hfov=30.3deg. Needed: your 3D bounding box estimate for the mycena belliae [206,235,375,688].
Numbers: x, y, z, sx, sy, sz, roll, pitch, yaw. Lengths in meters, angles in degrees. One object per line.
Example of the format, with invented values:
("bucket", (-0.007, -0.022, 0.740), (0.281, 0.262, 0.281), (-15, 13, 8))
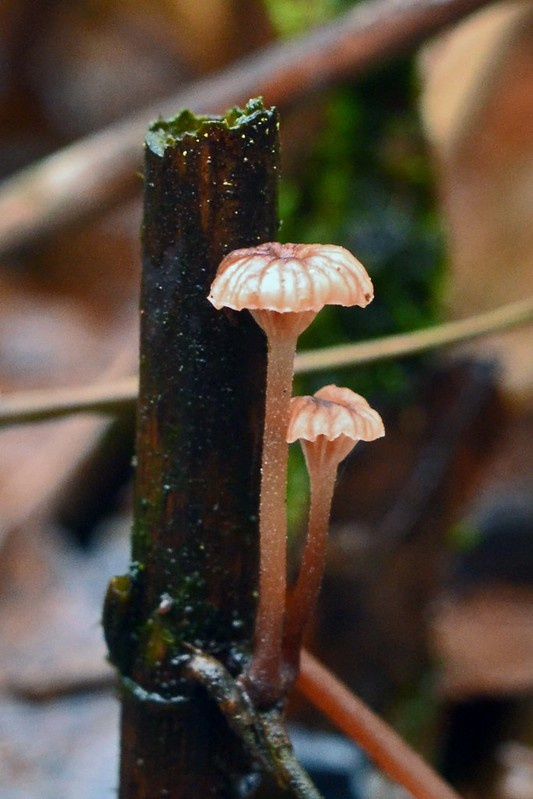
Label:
("mycena belliae", (0.024, 0.101, 1.344), (0.262, 0.591, 0.239), (1, 1, 33))
